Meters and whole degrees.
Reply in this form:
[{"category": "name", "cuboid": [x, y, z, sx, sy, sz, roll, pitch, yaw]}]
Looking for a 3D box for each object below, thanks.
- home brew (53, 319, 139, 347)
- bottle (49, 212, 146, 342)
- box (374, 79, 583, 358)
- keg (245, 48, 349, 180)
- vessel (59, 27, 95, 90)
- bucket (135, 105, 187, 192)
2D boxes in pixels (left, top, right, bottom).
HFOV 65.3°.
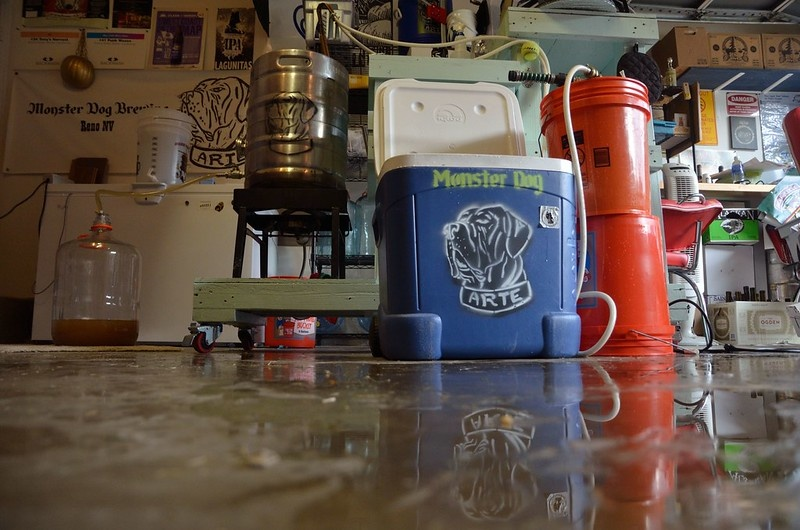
[{"category": "home brew", "cuboid": [-1.300, 0.283, 2.671, 0.320, 0.108, 0.143, 4, -8, -28]}, {"category": "bottle", "cuboid": [-1.591, 0.061, 3.236, 0.539, 0.728, 0.517, -2, -8, 0]}, {"category": "box", "cuboid": [0.203, -0.204, 2.030, 0.709, 0.964, 0.730, -2, -2, 27]}, {"category": "keg", "cuboid": [-0.438, -0.597, 2.710, 0.491, 0.529, 0.475, 1, -2, 20]}, {"category": "vessel", "cuboid": [-2.323, -1.517, 4.522, 0.221, 0.463, 0.141, 3, -8, -13]}, {"category": "bucket", "cuboid": [-1.390, -0.671, 3.722, 0.371, 0.447, 0.376, 0, -8, 0]}]
